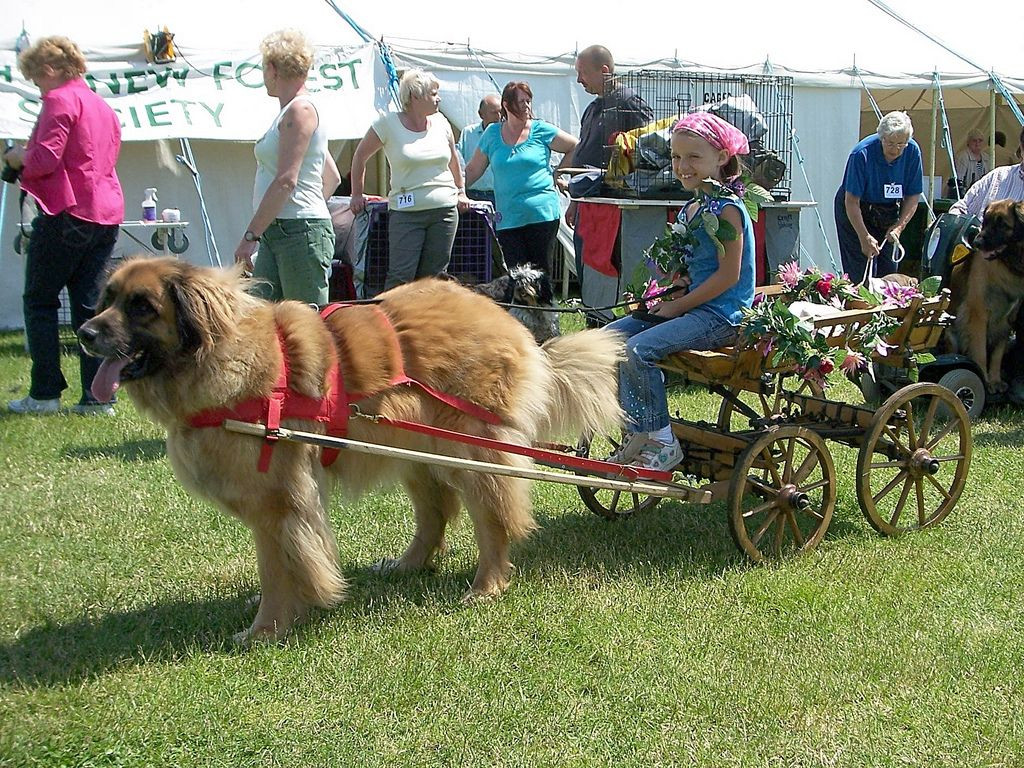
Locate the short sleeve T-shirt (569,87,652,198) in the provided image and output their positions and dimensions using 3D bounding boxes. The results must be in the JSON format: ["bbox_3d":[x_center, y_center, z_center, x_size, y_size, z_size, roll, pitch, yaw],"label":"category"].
[{"bbox_3d":[0.967,-2.273,11.093,0.480,1.093,1.174,4,8,-18],"label":"short sleeve T-shirt"}]

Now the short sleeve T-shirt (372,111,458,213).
[{"bbox_3d":[-0.786,-1.826,9.553,0.701,0.793,0.391,-5,13,-12],"label":"short sleeve T-shirt"}]

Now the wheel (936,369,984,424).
[{"bbox_3d":[3.360,0.083,8.704,0.386,0.407,0.143,3,10,-34],"label":"wheel"}]

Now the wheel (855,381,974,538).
[{"bbox_3d":[2.523,0.518,7.241,0.957,1.010,0.293,-5,15,-29],"label":"wheel"}]

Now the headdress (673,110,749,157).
[{"bbox_3d":[1.161,-1.447,6.736,0.337,0.130,0.271,15,3,-16],"label":"headdress"}]

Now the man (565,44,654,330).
[{"bbox_3d":[0.922,-1.916,11.690,0.728,2.959,1.264,-2,15,-7],"label":"man"}]

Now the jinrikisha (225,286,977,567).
[{"bbox_3d":[0.756,0.090,7.155,4.802,1.600,1.746,-2,2,-15],"label":"jinrikisha"}]

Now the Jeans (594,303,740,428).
[{"bbox_3d":[0.886,-0.127,6.907,0.615,0.462,0.808,-11,15,-17],"label":"Jeans"}]

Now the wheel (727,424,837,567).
[{"bbox_3d":[1.612,0.679,6.841,0.836,0.877,0.255,1,6,-31],"label":"wheel"}]

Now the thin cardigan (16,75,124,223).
[{"bbox_3d":[-3.445,-1.798,9.100,0.308,1.150,0.845,7,15,35],"label":"thin cardigan"}]

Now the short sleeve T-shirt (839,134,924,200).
[{"bbox_3d":[3.353,-1.974,10.269,0.722,0.709,0.395,7,55,15],"label":"short sleeve T-shirt"}]

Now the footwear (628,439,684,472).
[{"bbox_3d":[0.868,0.423,6.862,0.380,0.157,0.129,-9,12,-42],"label":"footwear"}]

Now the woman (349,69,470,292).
[{"bbox_3d":[-0.846,-1.490,9.693,0.874,2.206,0.569,-7,23,-20],"label":"woman"}]

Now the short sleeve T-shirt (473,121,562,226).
[{"bbox_3d":[0.078,-1.864,10.425,0.676,0.955,0.425,-3,12,-2],"label":"short sleeve T-shirt"}]

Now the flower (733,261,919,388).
[{"bbox_3d":[1.802,-0.322,6.850,0.808,0.366,0.853,18,45,27],"label":"flower"}]

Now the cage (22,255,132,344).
[{"bbox_3d":[-3.032,-0.600,7.994,0.931,0.702,0.533,1,7,1],"label":"cage"}]
